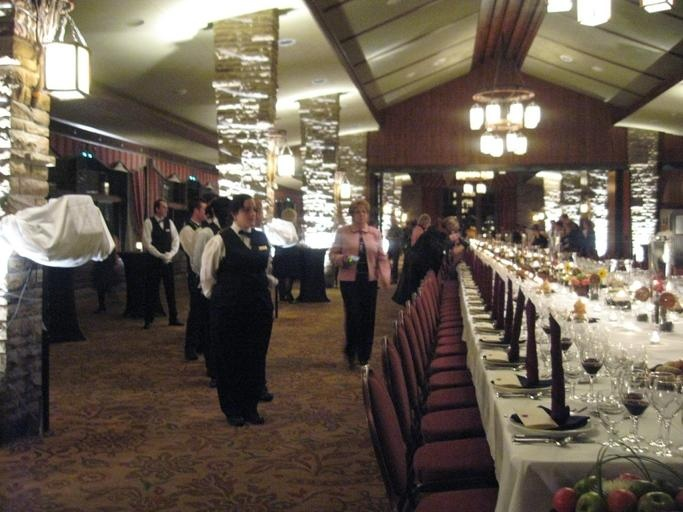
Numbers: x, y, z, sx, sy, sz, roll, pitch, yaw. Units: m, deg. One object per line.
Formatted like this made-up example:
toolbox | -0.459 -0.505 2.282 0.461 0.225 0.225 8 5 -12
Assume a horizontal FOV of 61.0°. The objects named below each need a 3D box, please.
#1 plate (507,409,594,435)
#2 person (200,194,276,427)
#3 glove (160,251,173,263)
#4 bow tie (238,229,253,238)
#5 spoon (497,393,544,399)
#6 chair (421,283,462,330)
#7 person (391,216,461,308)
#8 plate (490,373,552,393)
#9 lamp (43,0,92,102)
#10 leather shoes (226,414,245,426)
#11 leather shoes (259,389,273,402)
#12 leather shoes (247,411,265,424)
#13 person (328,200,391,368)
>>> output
plate | 0.944 0.755 2.600 0.359 0.064 0.180 1 6 13
person | -0.812 0.447 4.560 0.542 1.828 0.182 -1 6 -14
glove | -2.432 0.027 8.062 0.112 0.165 0.156 -10 0 24
bow tie | -0.747 -0.174 4.555 0.066 0.029 0.070 -15 -22 33
spoon | 0.921 0.719 2.964 0.210 0.019 0.079 0 10 3
chair | 1.043 0.541 6.062 0.225 0.231 0.404 -3 -40 6
person | 1.202 0.040 8.950 0.698 1.378 0.557 -1 22 -20
plate | 0.943 0.678 3.063 0.218 0.036 0.133 0 8 2
lamp | -2.050 -1.536 4.341 0.331 0.675 0.441 -3 6 -28
leather shoes | -0.836 1.321 4.622 0.082 0.043 0.114 9 4 -17
leather shoes | -0.670 1.245 5.142 0.139 0.147 0.317 1 -11 -10
leather shoes | -0.687 1.325 4.682 0.059 0.090 0.136 -6 -14 38
person | 0.182 0.311 6.014 0.636 1.773 0.521 0 6 4
